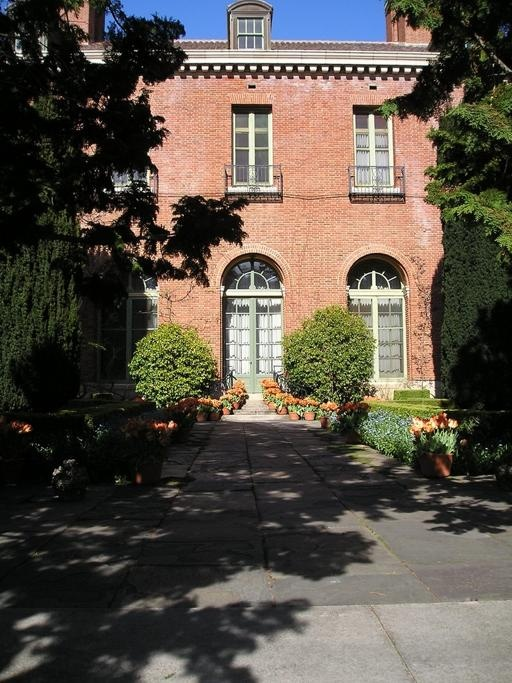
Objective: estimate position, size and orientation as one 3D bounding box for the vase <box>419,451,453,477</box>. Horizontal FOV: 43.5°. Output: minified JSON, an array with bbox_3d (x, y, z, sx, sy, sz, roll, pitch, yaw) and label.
[{"bbox_3d":[2.081,1.404,7.425,0.307,0.201,0.292,2,-2,-15],"label":"vase"}]

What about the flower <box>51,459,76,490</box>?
[{"bbox_3d":[-1.822,1.255,6.162,0.239,0.300,0.087,-17,-39,24],"label":"flower"}]

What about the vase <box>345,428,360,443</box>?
[{"bbox_3d":[1.605,1.577,10.641,0.210,0.213,0.207,-2,-3,10],"label":"vase"}]

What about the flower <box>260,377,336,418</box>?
[{"bbox_3d":[0.909,1.398,15.133,0.985,0.293,0.971,7,21,-5],"label":"flower"}]

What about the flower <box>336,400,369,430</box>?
[{"bbox_3d":[1.691,1.322,11.557,0.536,0.539,0.498,-3,-5,29],"label":"flower"}]

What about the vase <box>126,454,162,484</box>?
[{"bbox_3d":[-1.215,1.399,7.085,0.339,0.233,0.333,0,-10,-4],"label":"vase"}]

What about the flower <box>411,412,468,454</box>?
[{"bbox_3d":[2.165,1.119,7.806,0.484,0.531,0.527,-7,-8,41],"label":"flower"}]
